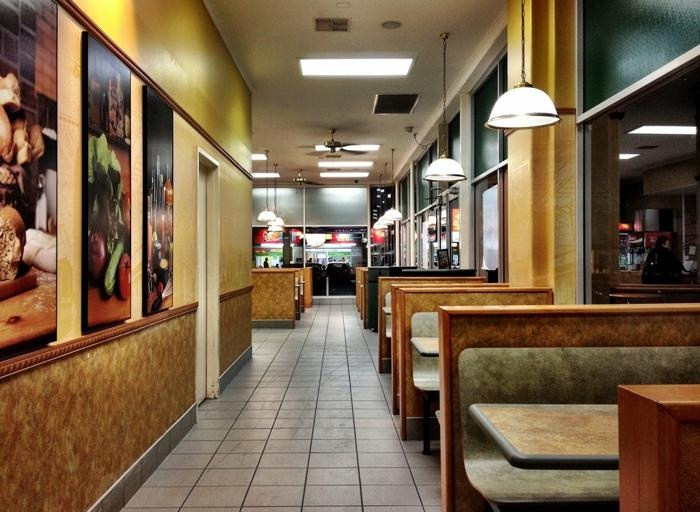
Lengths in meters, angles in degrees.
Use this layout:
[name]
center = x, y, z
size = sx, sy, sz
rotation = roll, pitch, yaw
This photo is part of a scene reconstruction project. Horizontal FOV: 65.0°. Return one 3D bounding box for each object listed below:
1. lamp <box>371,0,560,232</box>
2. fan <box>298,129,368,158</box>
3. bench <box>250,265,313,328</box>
[lamp]
center = 1.340, -1.682, 6.452
size = 0.629, 1.961, 2.057
rotation = 7, -9, -41
[fan]
center = -0.219, -1.938, 9.781
size = 0.792, 0.289, 0.797
rotation = 9, 14, 41
[bench]
center = -1.298, 0.726, 11.002
size = 0.756, 1.124, 2.422
rotation = 0, 4, 4
